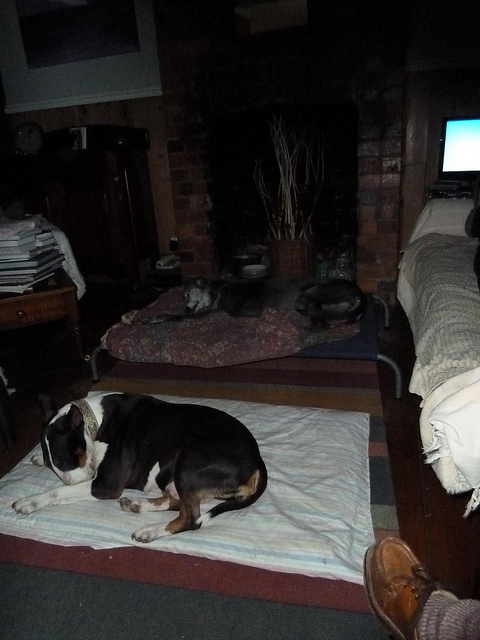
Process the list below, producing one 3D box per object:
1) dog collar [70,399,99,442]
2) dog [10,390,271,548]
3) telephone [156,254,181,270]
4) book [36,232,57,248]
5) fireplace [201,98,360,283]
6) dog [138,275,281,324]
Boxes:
[{"bbox_3d":[-0.399,0.255,1.159,0.020,0.097,0.069,-12,0,-24],"label":"dog collar"},{"bbox_3d":[-0.238,0.356,1.150,0.484,0.252,0.411,8,6,5],"label":"dog"},{"bbox_3d":[-0.592,-0.481,3.707,0.150,0.070,0.210,15,23,40],"label":"telephone"},{"bbox_3d":[-0.954,-0.390,2.188,0.082,0.028,0.101,-18,22,-5],"label":"book"},{"bbox_3d":[0.296,-0.938,3.219,0.624,1.031,1.198,3,18,5],"label":"fireplace"},{"bbox_3d":[-0.180,-0.121,2.350,0.780,0.322,0.286,-3,8,8],"label":"dog"}]
